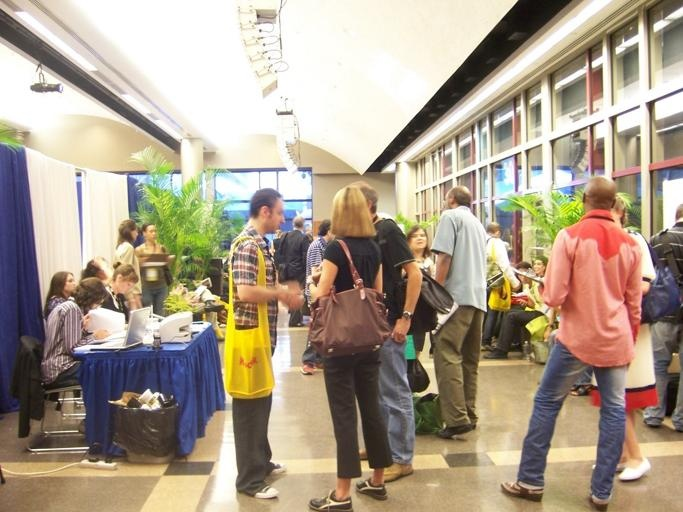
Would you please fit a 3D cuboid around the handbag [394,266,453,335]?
[{"bbox_3d":[0.579,0.324,3.684,0.413,0.311,0.250,40,-52,-21],"label":"handbag"}]

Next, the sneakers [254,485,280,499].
[{"bbox_3d":[-0.509,1.578,3.484,0.147,0.060,0.067,-4,-2,18],"label":"sneakers"}]

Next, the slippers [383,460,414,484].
[{"bbox_3d":[0.405,1.515,3.681,0.282,0.127,0.095,0,-4,-30],"label":"slippers"}]

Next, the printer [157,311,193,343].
[{"bbox_3d":[-1.384,0.577,4.255,0.227,0.171,0.245,1,-3,-6],"label":"printer"}]

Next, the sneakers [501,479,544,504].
[{"bbox_3d":[1.196,1.548,3.403,0.241,0.103,0.106,5,0,38],"label":"sneakers"}]

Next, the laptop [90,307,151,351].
[{"bbox_3d":[-1.796,0.624,4.229,0.293,0.275,0.412,-1,0,7],"label":"laptop"}]

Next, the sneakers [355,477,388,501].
[{"bbox_3d":[0.202,1.547,3.489,0.200,0.092,0.094,7,0,37],"label":"sneakers"}]

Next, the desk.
[{"bbox_3d":[-1.549,1.105,4.461,0.737,0.643,1.215,-2,-2,-1],"label":"desk"}]

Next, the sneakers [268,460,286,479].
[{"bbox_3d":[-0.471,1.540,3.794,0.102,0.084,0.133,1,6,21],"label":"sneakers"}]

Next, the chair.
[{"bbox_3d":[-2.440,1.111,4.623,0.745,1.110,0.737,-1,0,-23],"label":"chair"}]

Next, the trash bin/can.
[{"bbox_3d":[-1.489,1.344,4.045,0.471,0.357,0.400,1,-3,-5],"label":"trash bin/can"}]

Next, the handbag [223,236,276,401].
[{"bbox_3d":[-0.632,0.416,3.446,0.314,1.102,0.197,-2,5,-5],"label":"handbag"}]

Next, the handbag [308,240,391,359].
[{"bbox_3d":[0.047,0.250,3.162,0.492,0.690,0.201,-2,5,-3],"label":"handbag"}]

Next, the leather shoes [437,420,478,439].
[{"bbox_3d":[0.959,1.414,4.257,0.330,0.164,0.122,-9,4,2],"label":"leather shoes"}]
